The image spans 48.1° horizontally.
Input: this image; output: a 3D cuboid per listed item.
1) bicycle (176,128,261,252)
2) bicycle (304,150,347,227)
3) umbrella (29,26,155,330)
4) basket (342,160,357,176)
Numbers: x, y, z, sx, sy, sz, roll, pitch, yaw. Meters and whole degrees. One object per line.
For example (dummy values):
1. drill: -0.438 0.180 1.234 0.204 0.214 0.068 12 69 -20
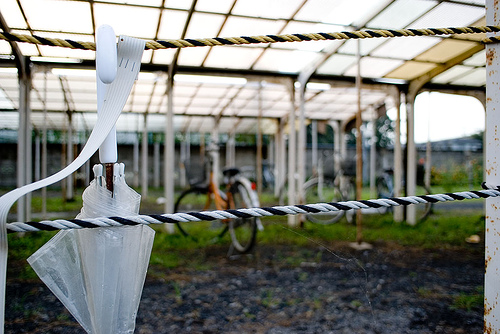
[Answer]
1. bicycle: -0.393 0.338 7.539 0.935 1.468 2.335 -1 -3 -26
2. bicycle: 1.190 0.379 8.886 0.648 1.041 1.759 1 10 10
3. umbrella: -1.088 0.096 3.968 0.775 2.148 0.356 -2 9 -11
4. basket: 1.567 -0.002 9.023 0.216 0.228 0.221 0 -1 -1
